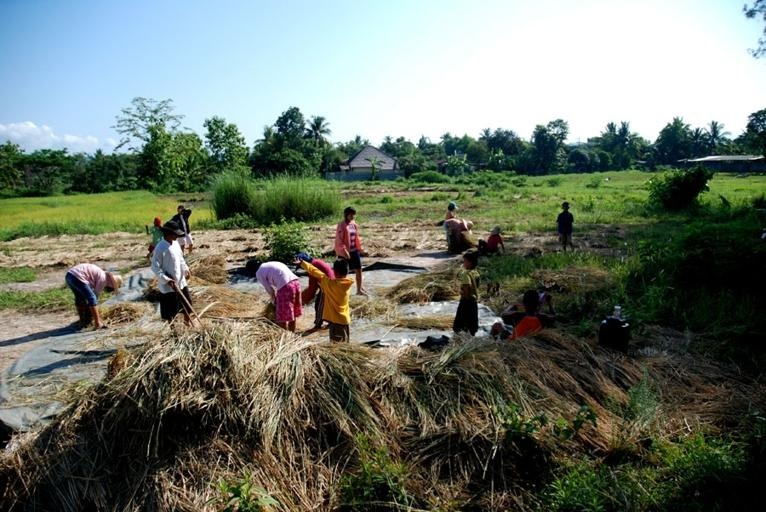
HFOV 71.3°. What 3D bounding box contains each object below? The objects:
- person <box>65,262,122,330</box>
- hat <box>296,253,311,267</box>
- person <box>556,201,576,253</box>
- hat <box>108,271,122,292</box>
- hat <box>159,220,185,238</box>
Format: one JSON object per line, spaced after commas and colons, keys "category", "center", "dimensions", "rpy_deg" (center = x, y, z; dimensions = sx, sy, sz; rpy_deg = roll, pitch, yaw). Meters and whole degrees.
{"category": "person", "center": [-4.707, 0.643, 8.607], "dimensions": [0.700, 1.016, 0.599], "rpy_deg": [-1, 12, -2]}
{"category": "hat", "center": [-1.168, 0.057, 7.791], "dimensions": [0.176, 0.093, 0.232], "rpy_deg": [-13, 5, -31]}
{"category": "person", "center": [4.644, -0.784, 13.676], "dimensions": [0.366, 1.331, 2.084], "rpy_deg": [4, 13, 19]}
{"category": "hat", "center": [-4.467, 0.442, 8.963], "dimensions": [0.244, 0.311, 0.323], "rpy_deg": [-1, 0, 33]}
{"category": "hat", "center": [-3.162, -0.398, 8.021], "dimensions": [0.370, 0.167, 0.415], "rpy_deg": [17, -4, 2]}
